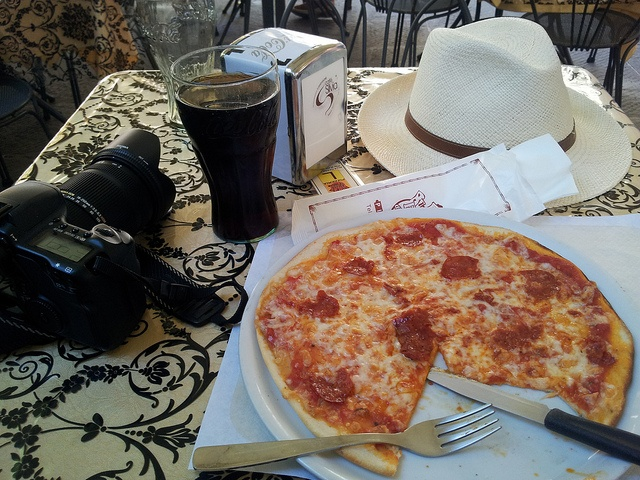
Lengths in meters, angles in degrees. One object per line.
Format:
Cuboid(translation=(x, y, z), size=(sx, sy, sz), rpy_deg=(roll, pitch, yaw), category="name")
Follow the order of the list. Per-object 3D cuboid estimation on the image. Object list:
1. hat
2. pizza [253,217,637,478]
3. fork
Cuboid(translation=(0.320, -0.195, 1.034), size=(0.460, 0.176, 0.419), rpy_deg=(6, 55, 5), category="hat")
Cuboid(translation=(0.110, 0.105, 0.609), size=(0.335, 0.045, 0.331), rpy_deg=(2, 50, 7), category="pizza")
Cuboid(translation=(0.038, 0.226, 0.572), size=(0.332, 0.037, 0.047), rpy_deg=(-4, 46, -4), category="fork")
